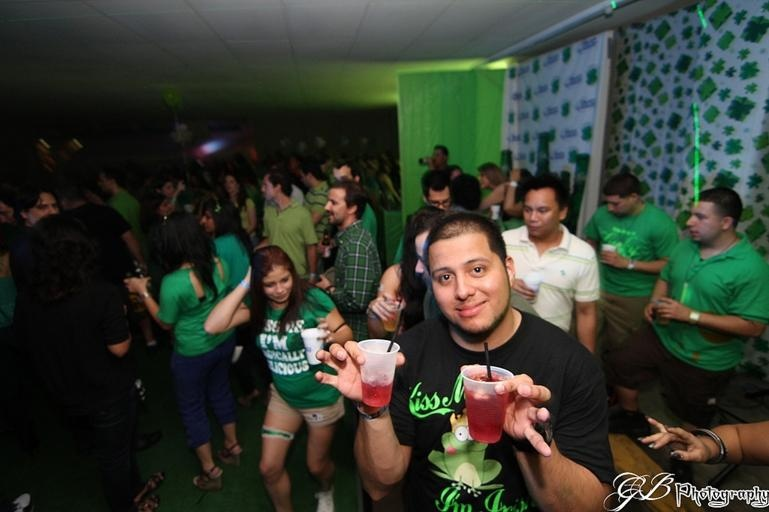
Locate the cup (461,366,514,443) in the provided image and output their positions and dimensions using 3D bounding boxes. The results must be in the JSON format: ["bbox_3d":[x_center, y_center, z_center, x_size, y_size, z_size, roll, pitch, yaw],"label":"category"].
[{"bbox_3d":[0.600,0.868,2.672,0.264,0.524,0.206,-7,15,0],"label":"cup"}]

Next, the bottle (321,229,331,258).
[{"bbox_3d":[-0.648,-0.157,5.309,0.090,0.276,0.209,0,-10,0],"label":"bottle"}]

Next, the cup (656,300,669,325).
[{"bbox_3d":[2.416,0.468,4.091,0.090,0.237,0.162,1,16,29],"label":"cup"}]

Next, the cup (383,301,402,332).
[{"bbox_3d":[0.078,0.488,3.736,0.197,0.204,0.195,3,-3,0],"label":"cup"}]

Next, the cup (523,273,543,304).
[{"bbox_3d":[1.246,0.218,3.920,0.122,0.220,0.278,-1,15,23],"label":"cup"}]

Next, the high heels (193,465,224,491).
[{"bbox_3d":[-1.564,1.997,4.349,0.290,0.185,0.171,6,8,3],"label":"high heels"}]

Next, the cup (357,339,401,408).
[{"bbox_3d":[-0.022,0.686,2.944,0.349,0.426,0.352,-1,6,0],"label":"cup"}]

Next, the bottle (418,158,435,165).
[{"bbox_3d":[0.532,-1.192,5.927,0.133,0.055,0.081,-15,43,-22],"label":"bottle"}]

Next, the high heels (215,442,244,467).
[{"bbox_3d":[-1.442,1.863,4.482,0.150,0.194,0.272,-1,5,-41],"label":"high heels"}]
